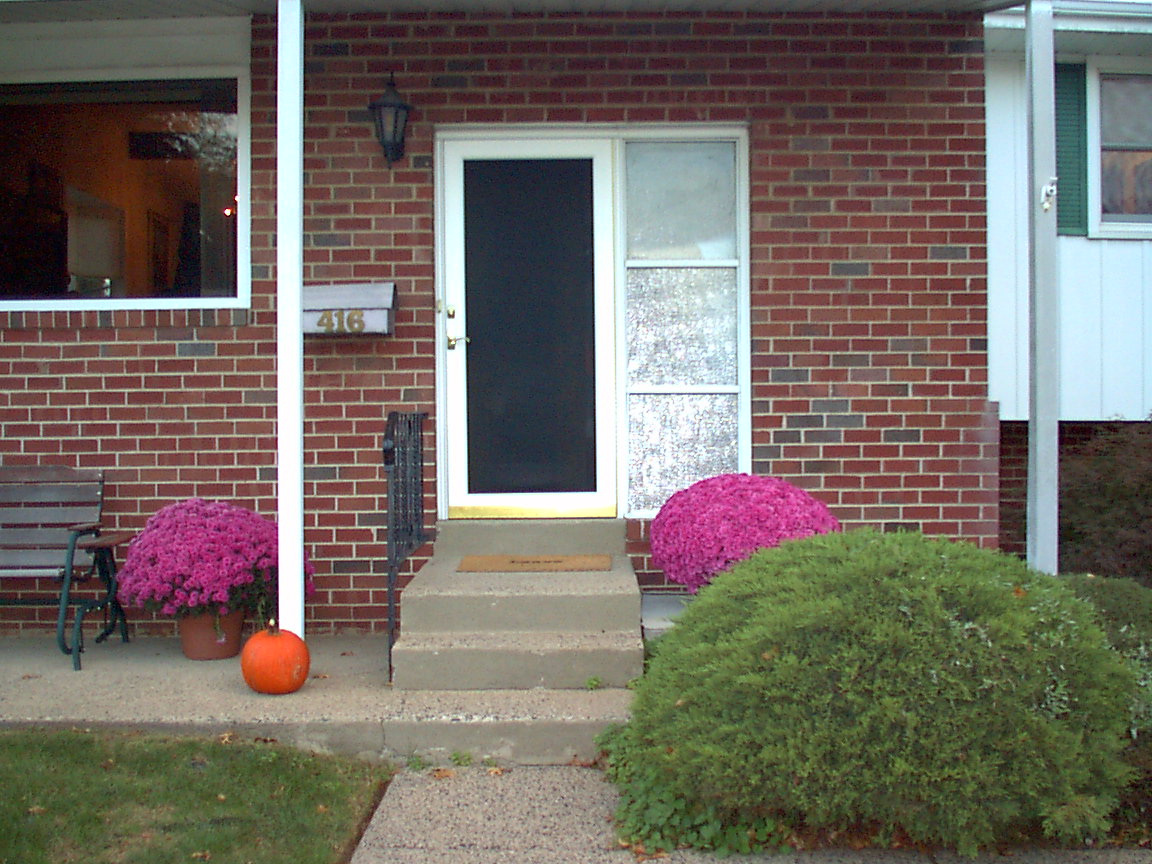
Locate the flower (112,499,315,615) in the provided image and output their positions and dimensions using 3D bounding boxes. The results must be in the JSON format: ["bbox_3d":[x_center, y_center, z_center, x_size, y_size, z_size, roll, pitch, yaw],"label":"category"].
[{"bbox_3d":[-2.365,0.805,9.103,0.965,0.693,0.439,2,2,-14],"label":"flower"}]

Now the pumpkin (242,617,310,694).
[{"bbox_3d":[-1.752,1.332,8.470,0.424,0.417,0.424,-2,8,-38],"label":"pumpkin"}]

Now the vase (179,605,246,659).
[{"bbox_3d":[-2.276,1.257,9.084,0.320,0.214,0.333,0,-5,-2],"label":"vase"}]
